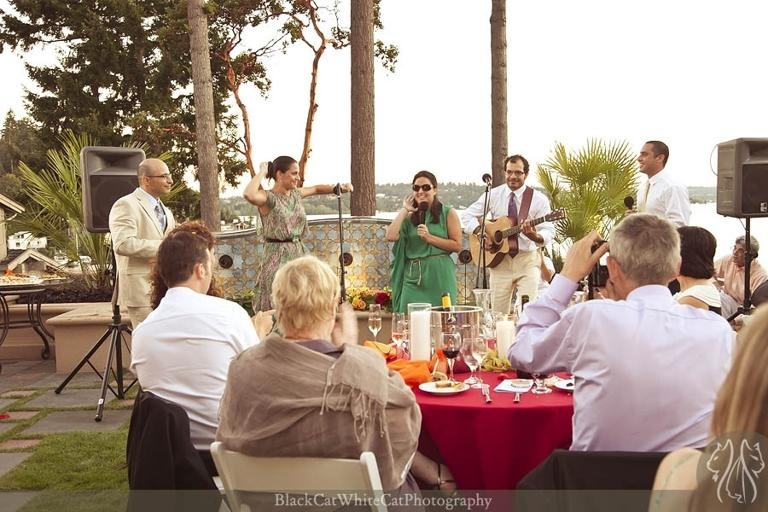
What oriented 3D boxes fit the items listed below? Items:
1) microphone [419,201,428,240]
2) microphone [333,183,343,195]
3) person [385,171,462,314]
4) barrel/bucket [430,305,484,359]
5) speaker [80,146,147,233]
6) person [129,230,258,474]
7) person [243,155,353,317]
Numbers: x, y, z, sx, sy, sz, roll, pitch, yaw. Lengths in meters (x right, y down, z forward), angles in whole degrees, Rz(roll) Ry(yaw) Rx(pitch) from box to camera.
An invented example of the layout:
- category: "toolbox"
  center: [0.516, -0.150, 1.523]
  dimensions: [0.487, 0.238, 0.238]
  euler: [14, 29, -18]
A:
- category: "microphone"
  center: [0.422, -0.387, 8.090]
  dimensions: [0.123, 0.421, 0.159]
  euler: [1, 0, 1]
- category: "microphone"
  center: [-0.517, -0.735, 8.092]
  dimensions: [0.090, 0.127, 0.121]
  euler: [1, -4, -5]
- category: "person"
  center: [0.440, -0.136, 8.418]
  dimensions: [0.802, 1.598, 0.881]
  euler: [1, 0, 3]
- category: "barrel/bucket"
  center: [0.572, 0.593, 5.806]
  dimensions: [0.329, 0.389, 0.346]
  euler: [0, -3, 0]
- category: "speaker"
  center: [-3.197, -0.859, 8.654]
  dimensions: [0.597, 1.286, 0.602]
  euler: [1, -2, 37]
- category: "person"
  center: [-1.402, 0.594, 5.550]
  dimensions: [0.741, 2.032, 0.869]
  euler: [1, 1, 8]
- category: "person"
  center: [-0.999, -0.256, 7.995]
  dimensions: [0.813, 1.839, 1.008]
  euler: [0, -1, -21]
